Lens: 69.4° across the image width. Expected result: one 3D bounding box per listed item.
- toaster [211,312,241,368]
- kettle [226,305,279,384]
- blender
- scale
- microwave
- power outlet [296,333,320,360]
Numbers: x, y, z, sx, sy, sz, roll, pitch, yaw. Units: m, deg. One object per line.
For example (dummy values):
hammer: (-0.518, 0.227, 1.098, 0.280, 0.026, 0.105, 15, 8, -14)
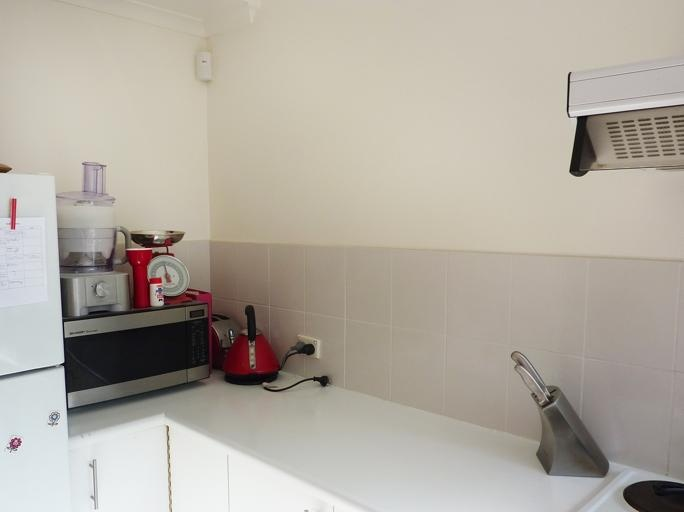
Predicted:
toaster: (-0.586, 0.425, 2.455, 0.128, 0.213, 0.229, 0, 1, -27)
kettle: (-0.408, 0.389, 2.213, 0.251, 0.367, 0.127, -3, 10, -15)
blender: (-1.009, 0.001, 1.967, 0.226, 0.568, 0.234, 11, 11, 34)
scale: (-0.826, 0.043, 2.205, 0.248, 0.327, 0.192, 2, 1, 37)
microwave: (-0.849, 0.329, 2.002, 0.369, 0.393, 0.433, 9, 10, 41)
power outlet: (-0.149, 0.410, 2.242, 0.118, 0.092, 0.015, 2, 3, 45)
